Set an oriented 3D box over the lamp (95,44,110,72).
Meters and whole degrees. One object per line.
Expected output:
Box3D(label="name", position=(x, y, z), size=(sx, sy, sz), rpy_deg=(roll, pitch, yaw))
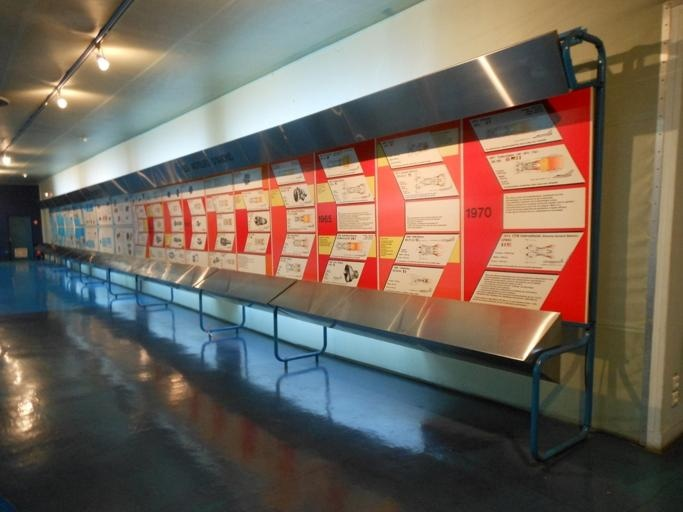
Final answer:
Box3D(label="lamp", position=(-2.396, -2.007, 4.687), size=(0.117, 0.246, 0.108), rpy_deg=(-14, -32, -15))
